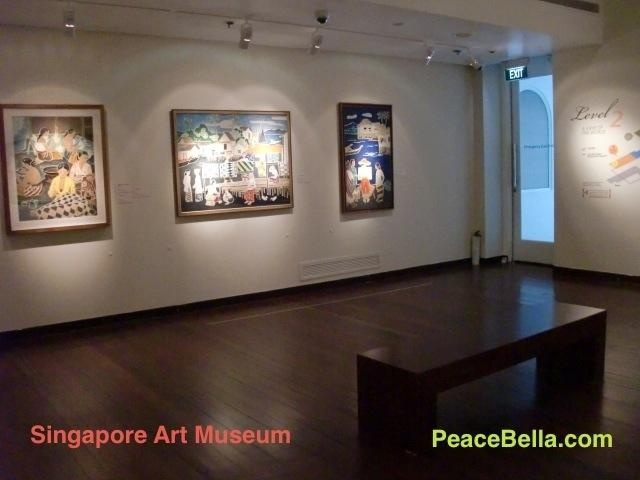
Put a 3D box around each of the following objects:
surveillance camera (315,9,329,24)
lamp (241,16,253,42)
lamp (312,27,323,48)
[{"bbox_3d":[0.014,-2.899,5.889,0.111,0.121,0.119,-1,5,-5],"label":"surveillance camera"},{"bbox_3d":[-0.981,-2.801,6.037,0.150,0.276,0.248,-2,10,-10],"label":"lamp"},{"bbox_3d":[-0.070,-2.960,6.629,0.176,0.355,0.174,-10,16,-39],"label":"lamp"}]
